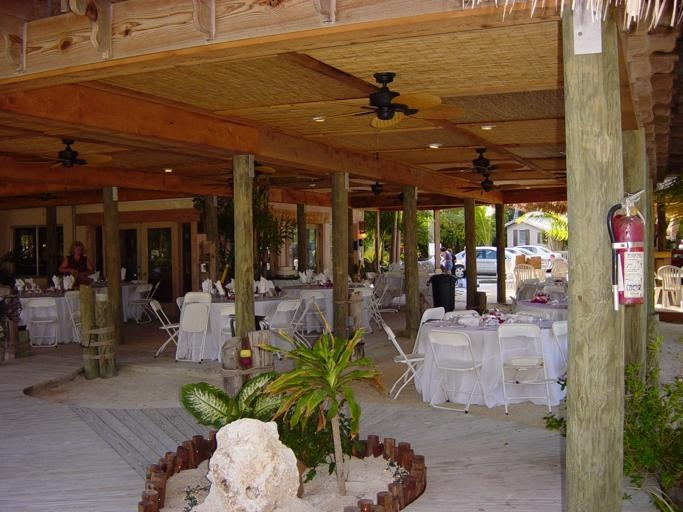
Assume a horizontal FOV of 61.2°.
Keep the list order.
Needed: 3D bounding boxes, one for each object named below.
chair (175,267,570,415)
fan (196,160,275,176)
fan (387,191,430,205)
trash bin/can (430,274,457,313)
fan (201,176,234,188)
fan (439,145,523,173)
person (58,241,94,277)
[{"bbox_3d":[1.638,1.208,6.748,1.849,1.265,1.285,-2,0,19],"label":"chair"},{"bbox_3d":[-1.754,-1.463,9.466,0.588,0.215,0.590,1,2,9],"label":"fan"},{"bbox_3d":[2.172,-1.815,18.597,0.927,0.238,1.011,-1,1,28],"label":"fan"},{"bbox_3d":[2.334,0.881,13.532,0.700,0.808,0.713,-4,-8,13],"label":"trash bin/can"},{"bbox_3d":[-2.779,-1.654,12.778,0.684,0.166,0.625,1,0,-29],"label":"fan"},{"bbox_3d":[2.478,-1.645,9.801,0.595,0.234,0.587,6,-6,-36],"label":"fan"},{"bbox_3d":[-5.599,0.044,12.163,0.619,0.770,1.198,-2,0,-26],"label":"person"}]
